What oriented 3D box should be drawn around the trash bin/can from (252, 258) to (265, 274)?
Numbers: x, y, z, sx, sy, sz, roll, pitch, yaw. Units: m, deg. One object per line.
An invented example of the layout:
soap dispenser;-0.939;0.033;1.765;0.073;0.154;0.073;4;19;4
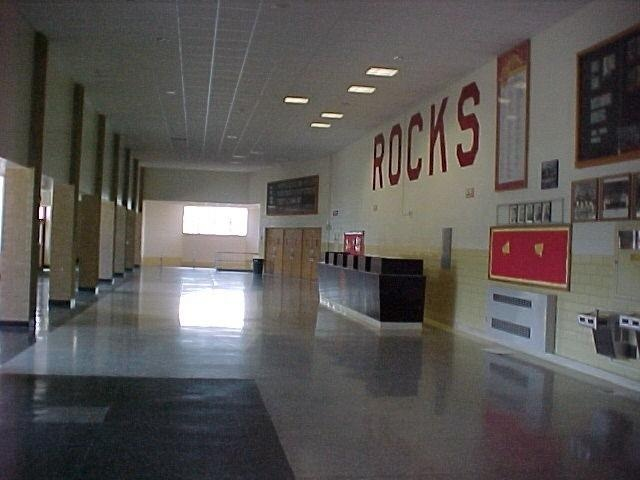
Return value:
trash bin/can;-3.337;1.449;26.062;0.675;0.806;0.733;-1;2;-9
